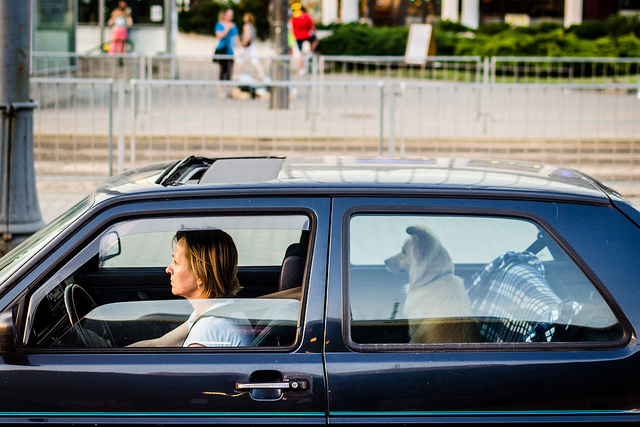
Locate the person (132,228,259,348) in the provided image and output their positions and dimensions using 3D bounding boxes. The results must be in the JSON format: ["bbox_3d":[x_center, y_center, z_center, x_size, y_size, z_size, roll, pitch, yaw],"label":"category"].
[{"bbox_3d":[-1.053,0.602,11.037,1.038,0.993,1.121,-3,11,3],"label":"person"}]

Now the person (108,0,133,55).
[{"bbox_3d":[-4.296,-4.042,27.700,0.514,1.124,0.926,1,3,-9],"label":"person"}]

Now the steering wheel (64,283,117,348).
[{"bbox_3d":[-2.017,0.913,10.923,0.102,0.488,0.518,-22,24,0],"label":"steering wheel"}]

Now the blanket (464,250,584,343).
[{"bbox_3d":[1.605,0.657,10.250,0.815,0.807,0.257,-23,-11,-5],"label":"blanket"}]

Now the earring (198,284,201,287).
[{"bbox_3d":[-1.018,0.612,10.840,0.023,0.023,0.013,0,1,-3],"label":"earring"}]

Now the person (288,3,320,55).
[{"bbox_3d":[-0.376,-4.086,28.738,0.579,1.052,1.171,1,3,-2],"label":"person"}]
